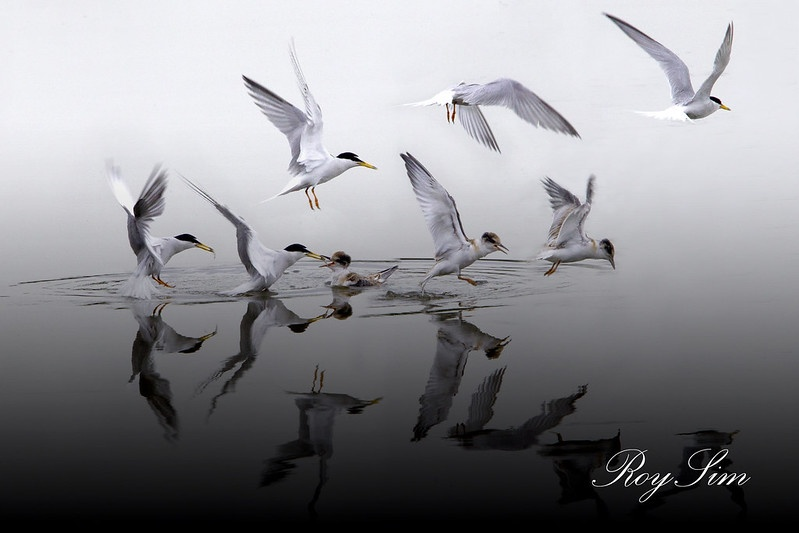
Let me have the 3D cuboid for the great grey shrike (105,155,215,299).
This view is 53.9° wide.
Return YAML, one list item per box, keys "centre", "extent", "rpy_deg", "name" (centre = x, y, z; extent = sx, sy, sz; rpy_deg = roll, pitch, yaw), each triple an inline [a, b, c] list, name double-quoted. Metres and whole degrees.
- centre: [-2.351, -0.202, 7.496]
  extent: [1.175, 1.054, 1.474]
  rpy_deg: [-2, 2, -26]
  name: "great grey shrike"

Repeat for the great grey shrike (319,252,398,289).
- centre: [-0.492, 0.087, 9.295]
  extent: [0.907, 0.529, 0.487]
  rpy_deg: [-1, 12, -22]
  name: "great grey shrike"

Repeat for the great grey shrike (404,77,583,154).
- centre: [0.899, -1.450, 7.578]
  extent: [0.907, 0.709, 1.347]
  rpy_deg: [-8, 18, -24]
  name: "great grey shrike"

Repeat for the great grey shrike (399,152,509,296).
- centre: [0.494, -0.461, 7.543]
  extent: [0.491, 1.256, 0.809]
  rpy_deg: [15, 23, 41]
  name: "great grey shrike"

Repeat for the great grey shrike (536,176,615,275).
- centre: [1.759, -0.323, 7.940]
  extent: [0.969, 0.714, 1.087]
  rpy_deg: [6, 0, 11]
  name: "great grey shrike"

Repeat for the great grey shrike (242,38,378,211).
- centre: [-1.011, -1.494, 8.192]
  extent: [1.119, 1.386, 0.365]
  rpy_deg: [0, 17, 1]
  name: "great grey shrike"
